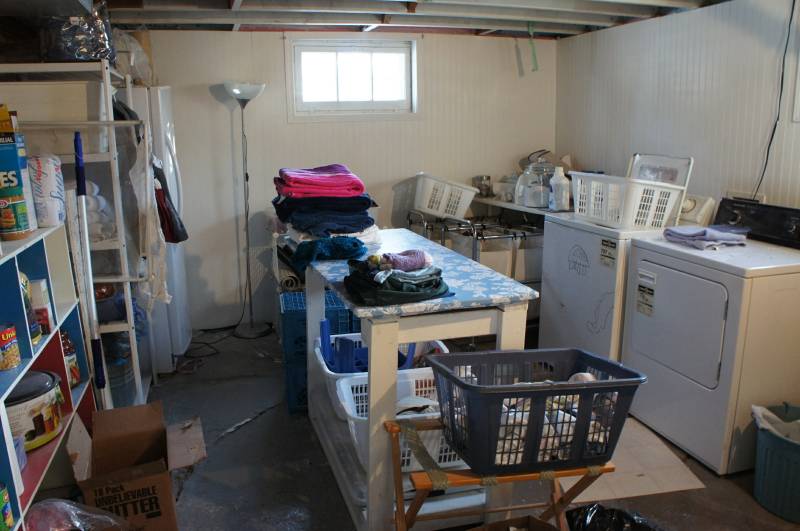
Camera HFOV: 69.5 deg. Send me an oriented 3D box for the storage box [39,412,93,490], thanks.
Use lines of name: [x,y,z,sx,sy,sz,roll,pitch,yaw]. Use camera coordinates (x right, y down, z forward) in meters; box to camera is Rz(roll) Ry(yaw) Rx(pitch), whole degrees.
storage box: [-1.653,0.939,2.854,0.277,0.142,0.402,-11,17,-32]

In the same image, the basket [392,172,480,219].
basket: [0.281,-0.585,5.003,0.589,0.258,0.441,10,1,-37]

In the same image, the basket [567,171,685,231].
basket: [1.533,-0.422,4.049,0.449,0.259,0.577,-3,17,-22]

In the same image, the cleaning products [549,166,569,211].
cleaning products: [1.274,-0.628,4.697,0.162,0.388,0.165,8,8,33]

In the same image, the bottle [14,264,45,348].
bottle: [-1.739,0.194,2.710,0.054,0.332,0.292,-11,17,-32]

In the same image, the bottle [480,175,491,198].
bottle: [0.849,-0.772,5.626,0.100,0.191,0.161,6,16,25]

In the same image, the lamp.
lamp: [-1.359,-0.459,5.135,0.406,2.207,0.453,-5,15,-16]
